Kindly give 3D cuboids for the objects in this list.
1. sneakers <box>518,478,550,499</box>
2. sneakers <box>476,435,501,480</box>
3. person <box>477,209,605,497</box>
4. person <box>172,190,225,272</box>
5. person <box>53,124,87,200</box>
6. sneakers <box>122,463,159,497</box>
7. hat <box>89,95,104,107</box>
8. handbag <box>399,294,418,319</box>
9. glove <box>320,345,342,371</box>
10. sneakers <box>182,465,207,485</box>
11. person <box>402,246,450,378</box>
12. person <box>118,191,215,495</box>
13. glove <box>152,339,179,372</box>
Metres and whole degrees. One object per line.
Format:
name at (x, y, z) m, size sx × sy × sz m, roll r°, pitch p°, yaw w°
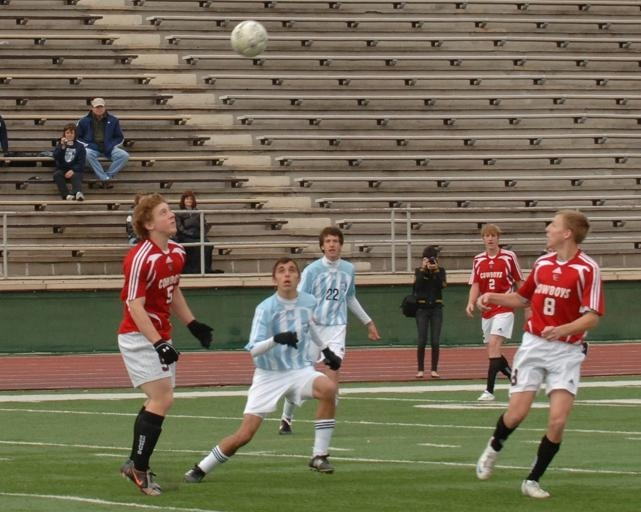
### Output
sneakers at (2.751, 2.990, 21.160) m, size 0.357 × 0.126 × 0.197 m, roll -5°, pitch -5°, yaw 42°
sneakers at (2.194, 2.649, 21.635) m, size 0.243 × 0.567 × 0.269 m, roll 24°, pitch -1°, yaw 3°
person at (2.918, 1.245, 21.370) m, size 1.429 × 3.622 × 0.944 m, roll 2°, pitch 5°, yaw 7°
person at (-2.477, -0.438, 32.639) m, size 0.990 × 1.540 × 1.012 m, roll -4°, pitch 11°, yaw -26°
person at (-5.127, -1.878, 33.990) m, size 0.654 × 1.540 × 0.568 m, roll 1°, pitch 5°, yaw -8°
sneakers at (-2.291, 2.906, 21.265) m, size 0.625 × 0.243 × 0.268 m, roll 33°, pitch 7°, yaw 2°
hat at (-4.611, -3.157, 34.441) m, size 0.313 × 0.129 × 0.407 m, roll -3°, pitch 11°, yaw -15°
handbag at (1.583, 0.877, 28.698) m, size 0.262 × 0.383 × 0.355 m, roll 2°, pitch 4°, yaw 2°
glove at (0.180, 1.405, 22.350) m, size 0.247 × 0.104 × 0.330 m, roll 10°, pitch -38°, yaw 31°
sneakers at (-1.652, 2.849, 21.597) m, size 0.164 × 0.223 × 0.332 m, roll 45°, pitch -11°, yaw -19°
person at (1.837, 1.009, 28.990) m, size 0.708 × 2.298 × 0.988 m, roll 2°, pitch 5°, yaw 2°
person at (-2.098, 1.134, 21.447) m, size 1.008 × 3.800 × 1.006 m, roll 1°, pitch 5°, yaw -7°
glove at (-1.977, 1.273, 21.245) m, size 0.307 × 0.377 × 0.279 m, roll 1°, pitch 4°, yaw -6°
